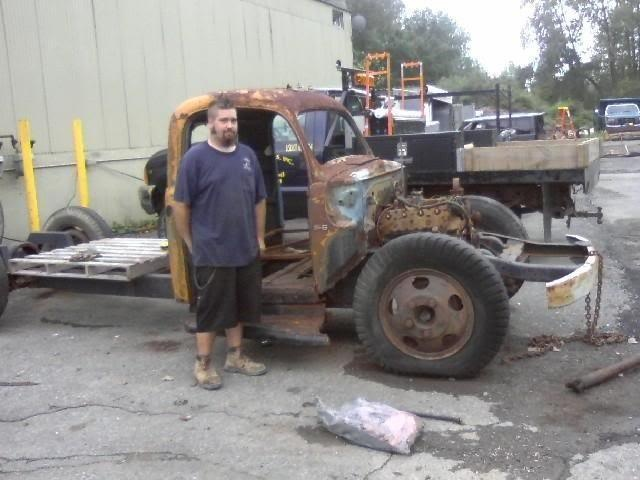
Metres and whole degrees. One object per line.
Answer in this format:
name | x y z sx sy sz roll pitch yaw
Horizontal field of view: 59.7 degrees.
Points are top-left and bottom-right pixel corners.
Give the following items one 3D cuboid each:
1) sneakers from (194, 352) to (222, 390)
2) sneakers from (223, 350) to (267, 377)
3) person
sneakers | -0.967 1.081 4.706 0.174 0.214 0.456 3 5 -30
sneakers | -0.652 1.047 4.841 0.393 0.241 0.170 0 6 14
person | -0.767 0.026 4.588 0.770 2.327 0.472 -7 15 -20
